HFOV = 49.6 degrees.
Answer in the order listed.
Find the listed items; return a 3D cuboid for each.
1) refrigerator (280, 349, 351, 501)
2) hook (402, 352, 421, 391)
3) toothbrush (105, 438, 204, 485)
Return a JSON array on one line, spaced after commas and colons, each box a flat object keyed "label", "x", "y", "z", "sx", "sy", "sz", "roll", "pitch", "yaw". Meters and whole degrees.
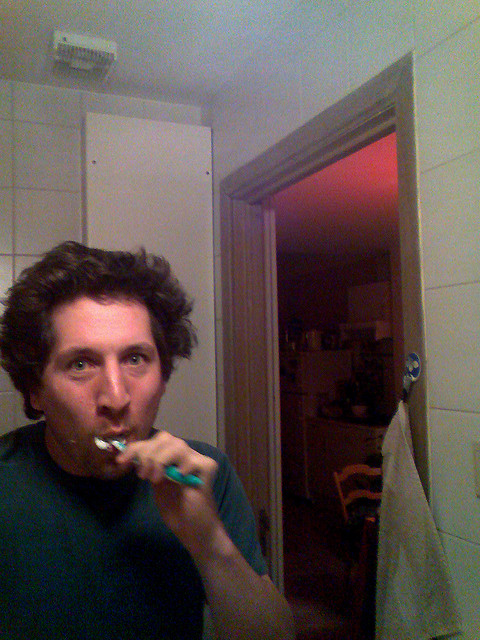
[{"label": "refrigerator", "x": 0.526, "y": 0.820, "z": 4.271, "sx": 0.430, "sy": 1.028, "sz": 0.506, "roll": 0, "pitch": 1, "yaw": -14}, {"label": "hook", "x": 0.298, "y": 0.091, "z": 0.907, "sx": 0.017, "sy": 0.069, "sz": 0.060, "roll": 0, "pitch": 0, "yaw": -2}, {"label": "toothbrush", "x": -0.100, "y": 0.162, "z": 0.590, "sx": 0.113, "sy": 0.024, "sz": 0.019, "roll": 37, "pitch": -42, "yaw": -12}]
